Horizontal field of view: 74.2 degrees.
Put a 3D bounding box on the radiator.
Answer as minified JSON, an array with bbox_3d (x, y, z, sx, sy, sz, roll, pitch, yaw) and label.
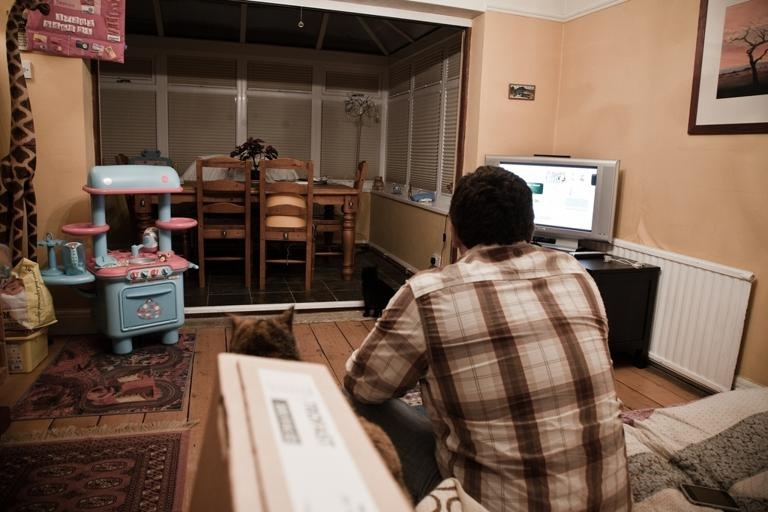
[{"bbox_3d":[1.908,0.385,3.326,0.083,0.867,1.002,-3,15,-21],"label":"radiator"}]

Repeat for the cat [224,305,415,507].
[{"bbox_3d":[-0.164,0.422,1.496,0.210,0.367,0.823,-31,62,-28],"label":"cat"}]

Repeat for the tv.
[{"bbox_3d":[1.180,-0.349,3.359,0.798,0.537,0.232,7,11,32],"label":"tv"}]
